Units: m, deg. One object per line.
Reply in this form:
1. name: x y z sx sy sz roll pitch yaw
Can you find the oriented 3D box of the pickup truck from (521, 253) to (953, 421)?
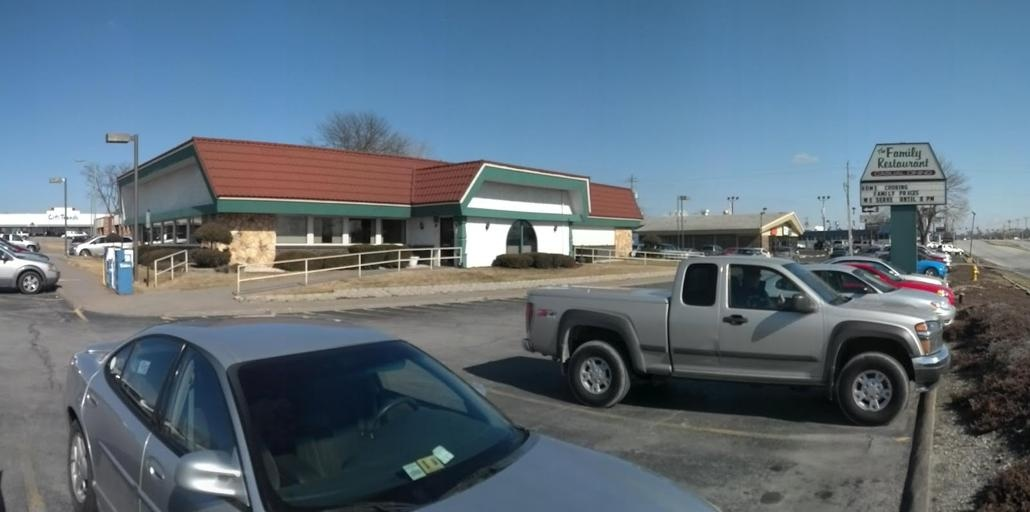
1. pickup truck: 5.006 1.783 14.540 8.744 2.695 3.729 -2 0 20
